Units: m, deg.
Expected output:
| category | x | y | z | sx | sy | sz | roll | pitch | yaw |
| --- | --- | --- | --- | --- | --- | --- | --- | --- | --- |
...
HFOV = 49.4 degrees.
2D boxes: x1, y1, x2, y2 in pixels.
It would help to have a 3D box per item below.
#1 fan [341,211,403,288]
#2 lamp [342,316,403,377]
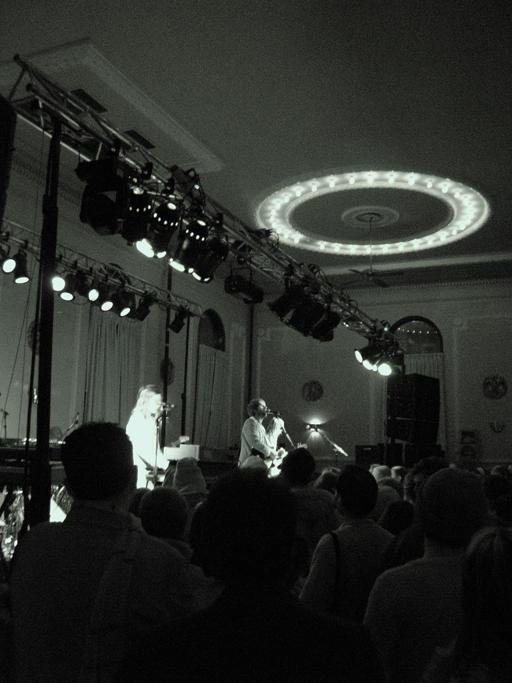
| category | x | y | z | sx | sy | sz | roll | pitch | yaw |
| --- | --- | --- | --- | --- | --- | --- | --- | --- | --- |
| fan | 2.001 | -1.637 | 9.708 | 1.202 | 1.091 | 1.041 | -4 | 9 | 9 |
| lamp | 2.330 | 0.116 | 10.508 | 0.830 | 1.059 | 0.568 | 3 | -7 | 12 |
